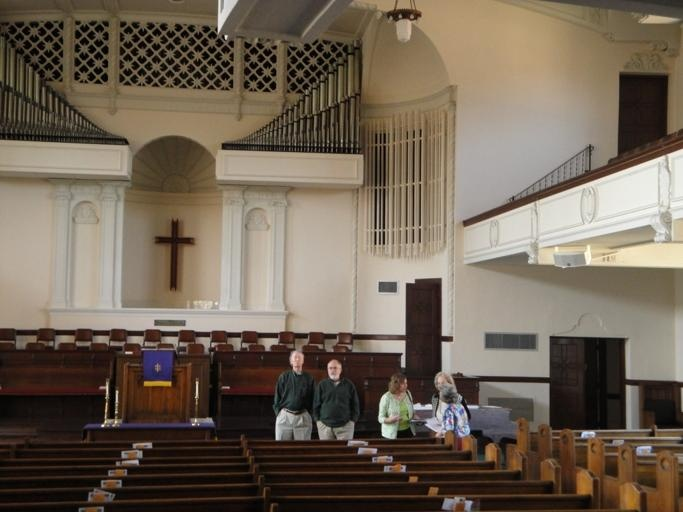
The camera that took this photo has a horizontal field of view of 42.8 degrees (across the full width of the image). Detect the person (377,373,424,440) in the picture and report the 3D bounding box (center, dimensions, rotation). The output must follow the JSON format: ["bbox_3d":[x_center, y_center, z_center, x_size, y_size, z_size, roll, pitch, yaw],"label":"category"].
[{"bbox_3d":[0.813,2.272,12.095,0.544,1.279,0.418,-5,12,-22],"label":"person"}]

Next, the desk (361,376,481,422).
[{"bbox_3d":[1.577,2.753,17.240,2.246,0.957,0.843,0,9,1],"label":"desk"}]

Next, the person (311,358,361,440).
[{"bbox_3d":[-0.074,2.330,12.605,0.591,1.714,0.407,1,17,6],"label":"person"}]

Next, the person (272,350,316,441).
[{"bbox_3d":[-0.684,2.312,12.648,0.551,1.804,0.438,4,-3,1],"label":"person"}]

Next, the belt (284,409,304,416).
[{"bbox_3d":[-0.678,2.250,12.578,0.256,0.074,0.066,13,-10,-10],"label":"belt"}]
